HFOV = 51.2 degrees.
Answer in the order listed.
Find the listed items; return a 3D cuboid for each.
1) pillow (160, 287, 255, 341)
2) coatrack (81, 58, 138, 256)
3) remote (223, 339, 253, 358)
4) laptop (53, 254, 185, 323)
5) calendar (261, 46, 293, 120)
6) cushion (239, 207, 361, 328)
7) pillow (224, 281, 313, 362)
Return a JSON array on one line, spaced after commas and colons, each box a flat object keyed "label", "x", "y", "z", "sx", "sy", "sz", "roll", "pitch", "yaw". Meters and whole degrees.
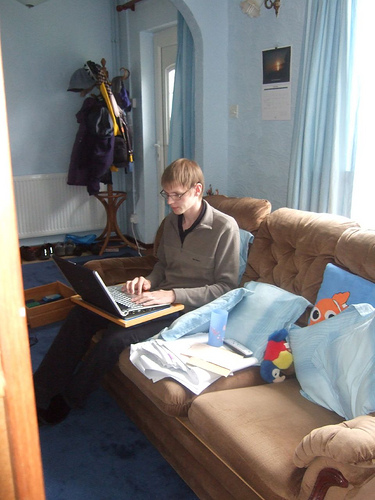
[{"label": "pillow", "x": 0.089, "y": 0.280, "z": 1.754, "sx": 0.266, "sy": 0.077, "sz": 0.230, "roll": -34, "pitch": -14, "yaw": 1}, {"label": "coatrack", "x": -0.886, "y": -1.094, "z": 4.392, "sx": 0.499, "sy": 2.144, "sz": 1.475, "roll": -9, "pitch": 15, "yaw": -34}, {"label": "remote", "x": 0.220, "y": 0.408, "z": 1.632, "sx": 0.046, "sy": 0.020, "sz": 0.085, "roll": -8, "pitch": 19, "yaw": -32}, {"label": "laptop", "x": -0.319, "y": 0.149, "z": 1.834, "sx": 0.555, "sy": 0.247, "sz": 0.548, "roll": 4, "pitch": 14, "yaw": 20}, {"label": "calendar", "x": 0.634, "y": -1.184, "z": 2.737, "sx": 0.282, "sy": 0.542, "sz": 0.017, "roll": 13, "pitch": 21, "yaw": 42}, {"label": "cushion", "x": 0.501, "y": 0.013, "z": 1.868, "sx": 0.499, "sy": 0.513, "sz": 0.664, "roll": -11, "pitch": 23, "yaw": -34}, {"label": "pillow", "x": 0.374, "y": 0.320, "z": 1.720, "sx": 0.087, "sy": 0.299, "sz": 0.316, "roll": 35, "pitch": -2, "yaw": -34}]
